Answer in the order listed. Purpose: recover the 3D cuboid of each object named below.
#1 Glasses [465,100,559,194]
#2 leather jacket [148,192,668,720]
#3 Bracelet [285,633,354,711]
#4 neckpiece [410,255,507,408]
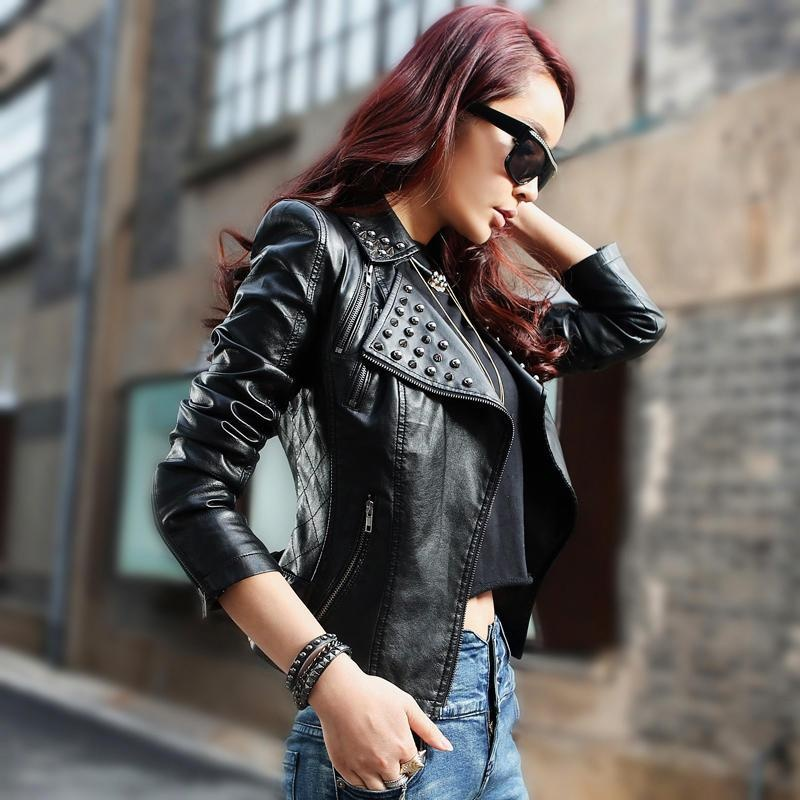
[{"bbox_3d":[0.219,-0.448,1.756,0.168,0.069,0.134,34,-4,17],"label":"Glasses"},{"bbox_3d":[0.050,0.058,1.725,0.342,0.934,0.876,-6,-16,44],"label":"leather jacket"},{"bbox_3d":[-0.120,0.386,1.412,0.098,0.101,0.037,-24,56,-37],"label":"Bracelet"},{"bbox_3d":[0.090,-0.146,1.775,0.099,0.045,0.386,17,29,-42],"label":"neckpiece"}]
